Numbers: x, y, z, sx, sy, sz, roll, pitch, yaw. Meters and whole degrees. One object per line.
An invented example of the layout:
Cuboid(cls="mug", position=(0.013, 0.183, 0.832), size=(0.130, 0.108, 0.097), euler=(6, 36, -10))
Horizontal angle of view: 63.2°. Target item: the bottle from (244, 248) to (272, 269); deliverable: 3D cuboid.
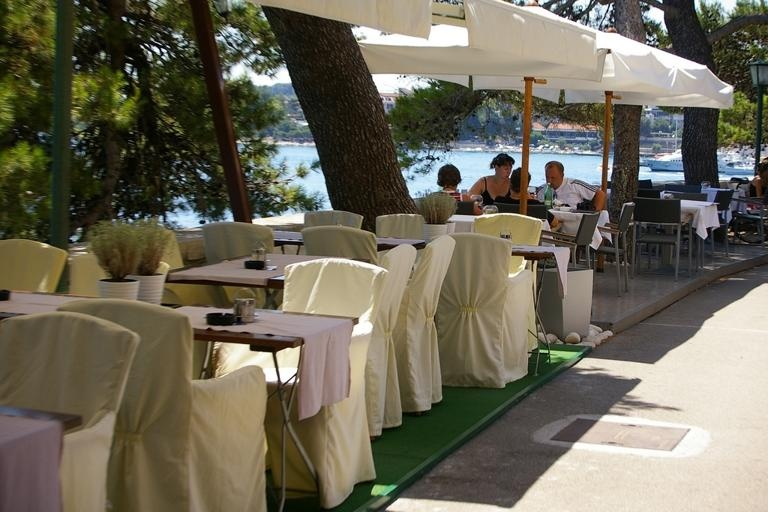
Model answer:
Cuboid(cls="bottle", position=(-0.928, 0.020, 4.576), size=(0.126, 0.144, 0.186), euler=(0, -7, 15))

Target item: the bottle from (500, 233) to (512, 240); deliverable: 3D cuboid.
Cuboid(cls="bottle", position=(1.095, -0.177, 5.601), size=(0.090, 0.071, 0.093), euler=(0, 6, 0))

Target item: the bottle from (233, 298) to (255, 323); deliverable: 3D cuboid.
Cuboid(cls="bottle", position=(-0.721, 0.289, 3.255), size=(0.115, 0.137, 0.092), euler=(1, 2, -8))
